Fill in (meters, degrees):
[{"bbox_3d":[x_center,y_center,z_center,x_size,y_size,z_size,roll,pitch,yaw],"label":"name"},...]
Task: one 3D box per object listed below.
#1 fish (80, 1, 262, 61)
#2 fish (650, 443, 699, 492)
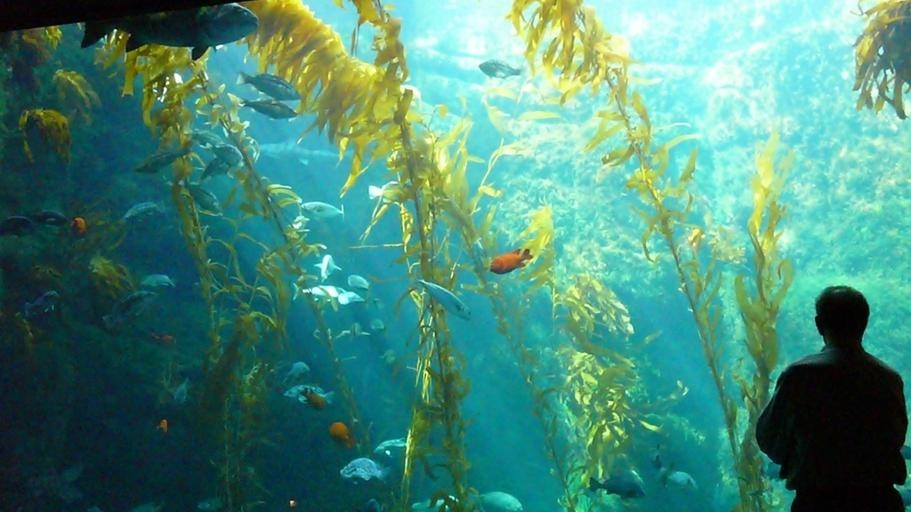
[{"bbox_3d":[-7.410,-5.936,20.228,3.263,0.595,1.393,-8,-41,-4],"label":"fish"},{"bbox_3d":[6.762,6.670,24.255,1.724,1.125,0.803,15,-21,-36],"label":"fish"}]
